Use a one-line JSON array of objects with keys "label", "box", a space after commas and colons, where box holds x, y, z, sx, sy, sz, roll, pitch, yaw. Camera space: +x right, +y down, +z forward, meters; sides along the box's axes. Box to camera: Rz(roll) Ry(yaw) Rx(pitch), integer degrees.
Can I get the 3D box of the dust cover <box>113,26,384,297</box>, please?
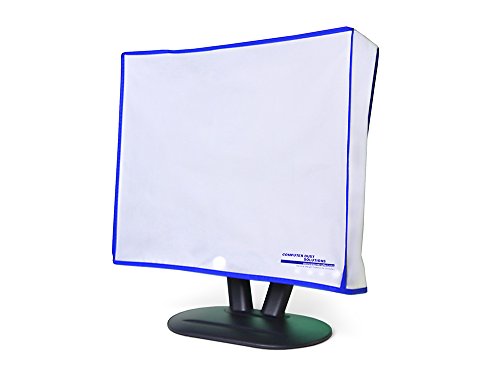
[{"label": "dust cover", "box": [0.010, -0.124, 1.893, 1.226, 0.999, 0.431, 1, -1, 26]}]
